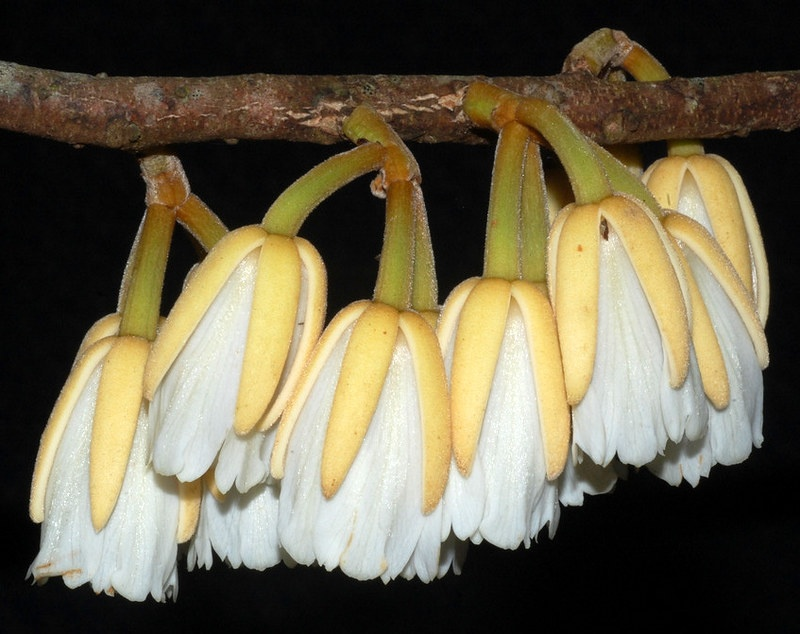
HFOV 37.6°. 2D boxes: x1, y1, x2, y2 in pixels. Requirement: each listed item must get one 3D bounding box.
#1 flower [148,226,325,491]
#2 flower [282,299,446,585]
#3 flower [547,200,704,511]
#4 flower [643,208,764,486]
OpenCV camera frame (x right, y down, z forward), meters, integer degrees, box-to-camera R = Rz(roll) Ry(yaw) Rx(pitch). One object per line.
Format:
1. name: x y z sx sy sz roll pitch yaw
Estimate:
1. flower: -0.241 0.078 1.956 0.264 0.440 0.155 23 9 28
2. flower: -0.051 0.168 1.849 0.270 0.428 0.116 10 9 18
3. flower: 0.353 0.042 1.854 0.239 0.416 0.165 -8 4 4
4. flower: 0.496 0.029 1.968 0.213 0.441 0.180 -31 32 -18
